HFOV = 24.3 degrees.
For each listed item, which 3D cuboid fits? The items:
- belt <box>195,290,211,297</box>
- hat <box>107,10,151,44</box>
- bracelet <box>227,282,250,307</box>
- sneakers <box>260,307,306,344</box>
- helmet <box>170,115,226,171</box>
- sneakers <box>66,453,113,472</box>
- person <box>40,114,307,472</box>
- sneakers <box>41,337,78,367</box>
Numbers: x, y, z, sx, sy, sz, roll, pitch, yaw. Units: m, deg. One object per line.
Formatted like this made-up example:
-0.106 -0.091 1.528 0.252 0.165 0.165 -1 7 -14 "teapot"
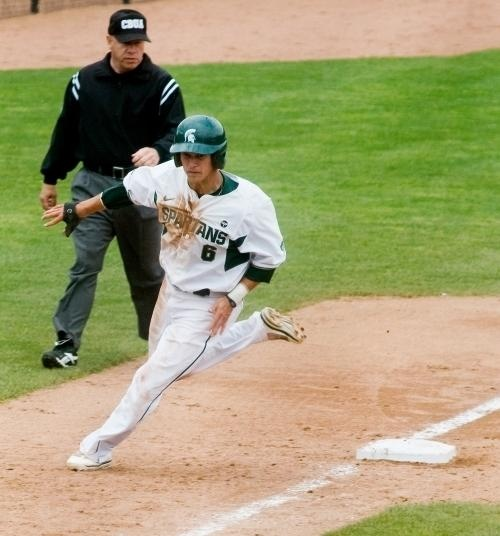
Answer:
-0.241 0.121 5.793 0.061 0.028 0.038 5 7 26 "belt"
-0.740 -1.445 6.940 0.238 0.203 0.252 -2 13 -6 "hat"
-0.061 0.125 5.859 0.126 0.053 0.095 -40 64 -17 "bracelet"
0.173 0.311 6.282 0.099 0.257 0.138 -44 20 21 "sneakers"
-0.242 -0.623 5.734 0.259 0.218 0.281 4 19 11 "helmet"
-0.795 0.940 5.677 0.199 0.079 0.086 8 0 -25 "sneakers"
-0.298 0.085 5.825 1.043 1.680 0.859 -1 13 2 "person"
-1.184 0.535 7.276 0.127 0.132 0.284 11 2 17 "sneakers"
